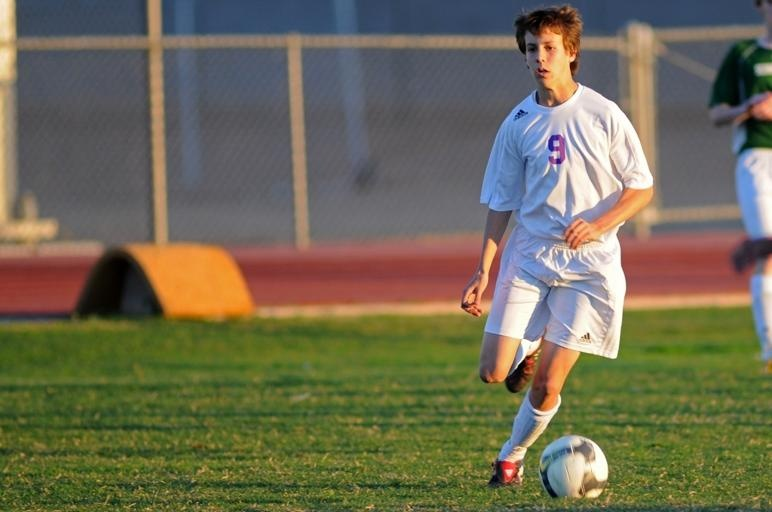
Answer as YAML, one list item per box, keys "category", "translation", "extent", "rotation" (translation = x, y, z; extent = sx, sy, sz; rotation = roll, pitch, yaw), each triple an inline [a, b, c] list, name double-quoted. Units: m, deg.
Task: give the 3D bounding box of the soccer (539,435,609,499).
- category: "soccer"
  translation: [1.736, 2.086, 18.330]
  extent: [0.613, 0.668, 0.592]
  rotation: [-6, -10, -2]
